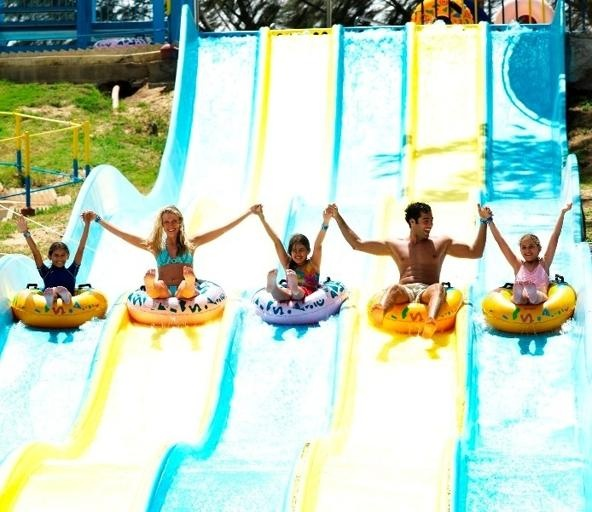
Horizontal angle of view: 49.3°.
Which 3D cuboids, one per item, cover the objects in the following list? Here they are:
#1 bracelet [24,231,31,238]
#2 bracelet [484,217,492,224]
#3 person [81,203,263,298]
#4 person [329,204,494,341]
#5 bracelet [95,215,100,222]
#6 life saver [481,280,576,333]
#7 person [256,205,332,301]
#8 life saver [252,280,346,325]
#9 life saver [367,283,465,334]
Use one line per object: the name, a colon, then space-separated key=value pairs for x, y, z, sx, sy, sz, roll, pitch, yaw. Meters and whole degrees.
bracelet: x=-2.363 y=-0.183 z=5.672 sx=0.069 sy=0.040 sz=0.070 roll=2 pitch=-6 yaw=-14
bracelet: x=1.594 y=-0.302 z=5.360 sx=0.054 sy=0.056 sz=0.018 roll=-37 pitch=40 yaw=8
person: x=-1.065 y=0.004 z=5.653 sx=1.248 sy=0.892 sz=1.060 roll=-7 pitch=-7 yaw=29
person: x=0.851 y=0.080 z=5.191 sx=1.228 sy=0.922 sz=1.184 roll=3 pitch=12 yaw=32
bracelet: x=-1.791 y=-0.334 z=5.856 sx=0.048 sy=0.078 sz=0.065 roll=1 pitch=-11 yaw=-15
life saver: x=1.744 y=0.314 z=5.027 sx=0.454 sy=0.162 sz=0.459 roll=-18 pitch=11 yaw=-24
person: x=-0.034 y=-0.020 z=5.493 sx=0.560 sy=0.837 sz=0.699 roll=1 pitch=-4 yaw=9
life saver: x=-0.024 y=0.412 z=5.704 sx=0.727 sy=0.227 sz=0.697 roll=-16 pitch=20 yaw=-41
life saver: x=0.958 y=0.449 z=5.111 sx=0.767 sy=0.311 sz=0.608 roll=0 pitch=15 yaw=6
